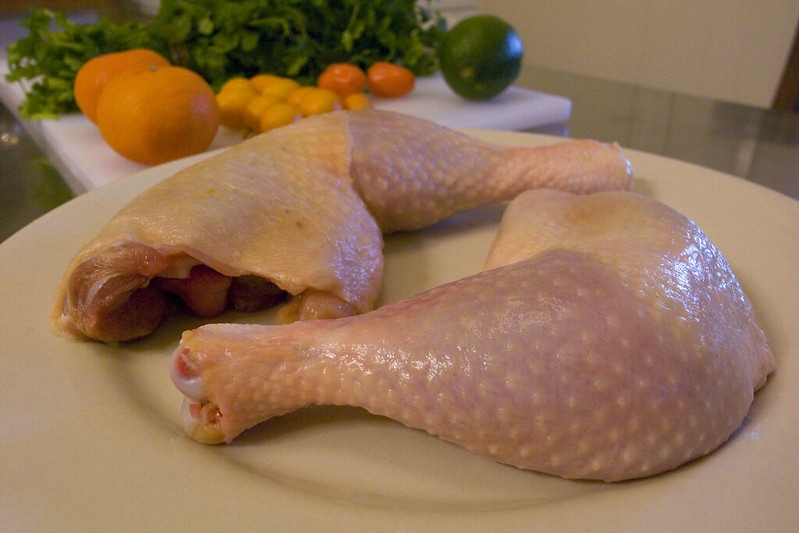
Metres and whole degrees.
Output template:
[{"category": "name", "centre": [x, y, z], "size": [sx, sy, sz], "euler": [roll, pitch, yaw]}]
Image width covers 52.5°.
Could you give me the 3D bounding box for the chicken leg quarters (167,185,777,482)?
[{"category": "chicken leg quarters", "centre": [0.101, 0.101, 0.863], "size": [0.495, 0.126, 0.319], "euler": [-15, 46, -11]}]

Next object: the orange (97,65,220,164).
[{"category": "orange", "centre": [-0.360, -0.253, 1.202], "size": [0.154, 0.127, 0.150], "euler": [-7, 18, -13]}]
